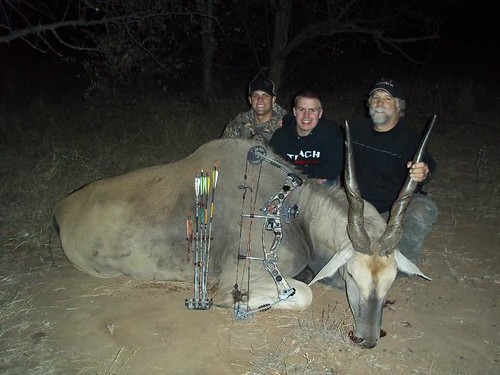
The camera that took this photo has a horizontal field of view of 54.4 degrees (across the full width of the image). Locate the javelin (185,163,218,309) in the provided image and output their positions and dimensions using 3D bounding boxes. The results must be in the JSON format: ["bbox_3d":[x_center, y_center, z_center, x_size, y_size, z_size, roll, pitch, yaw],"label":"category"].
[{"bbox_3d":[-0.655,0.597,6.606,0.484,1.779,1.134,-3,16,-2],"label":"javelin"}]

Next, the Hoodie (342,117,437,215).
[{"bbox_3d":[1.952,-0.390,7.136,1.040,1.501,0.937,11,13,3],"label":"Hoodie"}]

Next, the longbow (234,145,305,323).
[{"bbox_3d":[0.272,0.620,6.455,0.775,2.208,0.299,2,-9,10],"label":"longbow"}]

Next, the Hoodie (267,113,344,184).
[{"bbox_3d":[0.882,-0.581,7.296,0.837,1.152,0.843,-8,23,-41],"label":"Hoodie"}]
